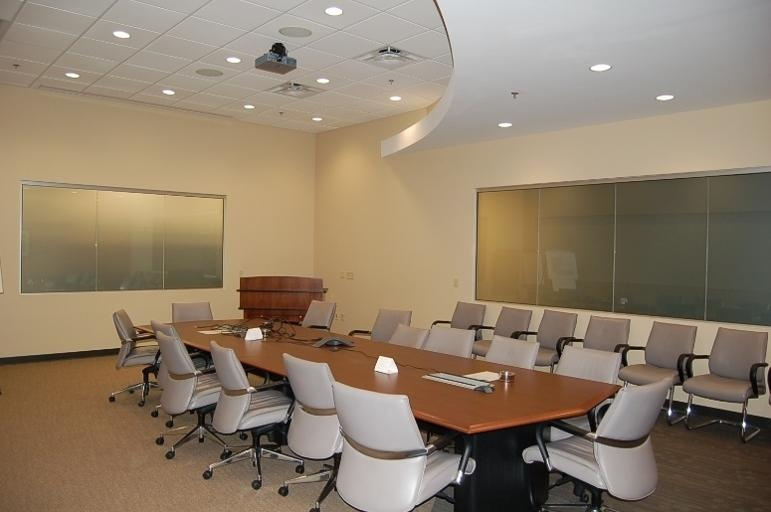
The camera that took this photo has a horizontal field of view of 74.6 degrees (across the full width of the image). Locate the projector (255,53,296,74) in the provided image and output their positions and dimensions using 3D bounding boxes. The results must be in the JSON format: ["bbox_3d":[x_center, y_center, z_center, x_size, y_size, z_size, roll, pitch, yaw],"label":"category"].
[{"bbox_3d":[-1.510,-2.572,6.805,0.391,0.131,0.382,-1,4,-40],"label":"projector"}]
